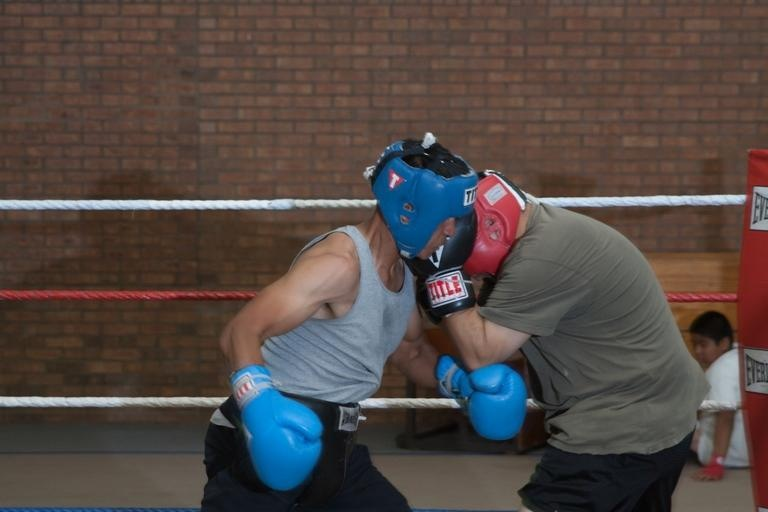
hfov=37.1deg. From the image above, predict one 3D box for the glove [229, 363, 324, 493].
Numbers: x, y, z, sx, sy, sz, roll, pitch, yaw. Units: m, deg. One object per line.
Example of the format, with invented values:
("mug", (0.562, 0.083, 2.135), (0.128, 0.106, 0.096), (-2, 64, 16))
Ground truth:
("glove", (-0.522, 0.891, 6.245), (0.548, 0.622, 0.328), (-22, 4, 16))
